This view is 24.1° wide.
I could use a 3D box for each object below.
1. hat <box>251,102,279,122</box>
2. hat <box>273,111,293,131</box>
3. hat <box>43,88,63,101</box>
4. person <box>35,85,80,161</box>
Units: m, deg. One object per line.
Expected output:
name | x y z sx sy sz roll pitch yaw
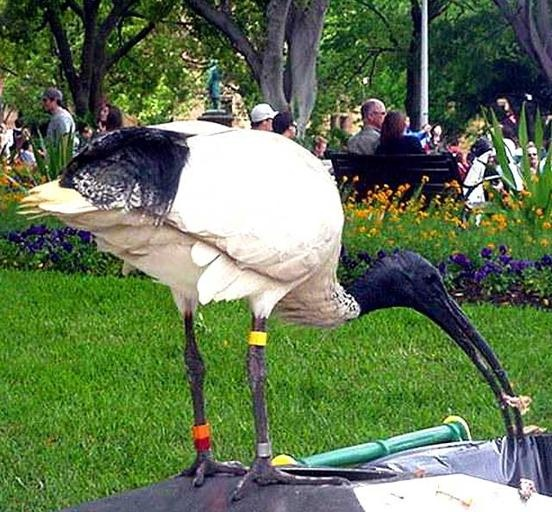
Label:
hat | -0.133 -1.813 16.682 0.281 0.178 0.236 -21 33 -21
hat | 0.090 -1.936 19.279 0.299 0.374 0.096 -21 -46 15
hat | -3.196 -2.325 18.647 0.155 0.224 0.212 12 16 16
person | -3.179 -1.777 19.139 0.386 1.323 0.550 -5 -3 -27
